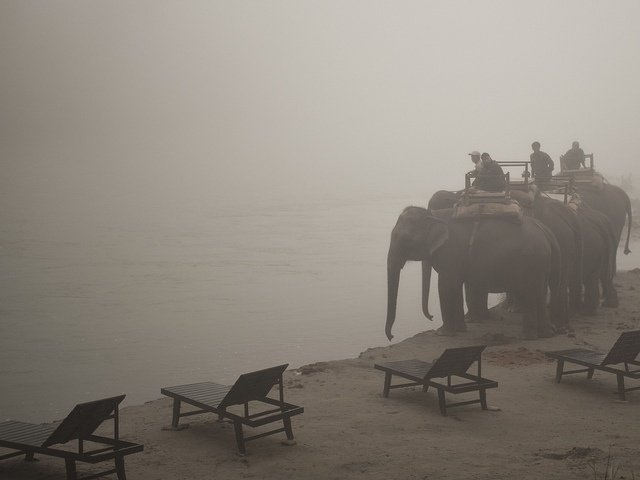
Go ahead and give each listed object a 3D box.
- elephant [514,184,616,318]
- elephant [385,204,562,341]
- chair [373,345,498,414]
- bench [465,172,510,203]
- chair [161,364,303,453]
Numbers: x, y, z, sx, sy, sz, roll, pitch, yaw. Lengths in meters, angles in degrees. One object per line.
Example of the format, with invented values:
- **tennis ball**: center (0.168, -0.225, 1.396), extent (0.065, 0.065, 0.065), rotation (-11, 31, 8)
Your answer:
- **elephant**: center (5.577, 0.174, 14.041), extent (1.724, 2.153, 3.681), rotation (-8, 14, -16)
- **elephant**: center (2.957, 0.641, 12.985), extent (3.491, 2.648, 1.825), rotation (0, -1, 13)
- **chair**: center (1.556, 1.820, 8.996), extent (0.868, 0.848, 1.706), rotation (1, 1, -30)
- **bench**: center (3.294, -1.041, 13.024), extent (0.965, 0.599, 0.897), rotation (1, 7, 14)
- **chair**: center (-1.100, 1.922, 7.989), extent (1.729, 0.890, 0.908), rotation (3, 2, 43)
